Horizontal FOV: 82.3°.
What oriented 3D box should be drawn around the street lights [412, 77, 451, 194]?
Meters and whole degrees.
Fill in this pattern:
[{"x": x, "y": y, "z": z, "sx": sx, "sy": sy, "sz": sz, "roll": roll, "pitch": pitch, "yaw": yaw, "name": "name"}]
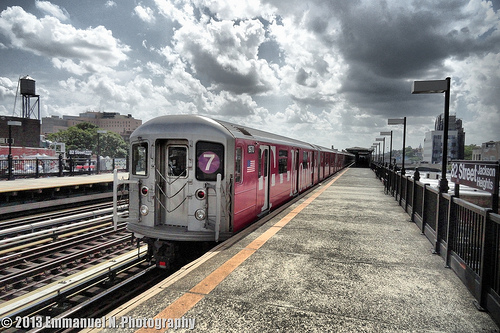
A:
[{"x": 4.423, "y": -0.785, "z": 6.977, "sx": 0.920, "sy": 2.671, "sz": 0.981, "roll": 6, "pitch": 10, "yaw": 29, "name": "street lights"}]
